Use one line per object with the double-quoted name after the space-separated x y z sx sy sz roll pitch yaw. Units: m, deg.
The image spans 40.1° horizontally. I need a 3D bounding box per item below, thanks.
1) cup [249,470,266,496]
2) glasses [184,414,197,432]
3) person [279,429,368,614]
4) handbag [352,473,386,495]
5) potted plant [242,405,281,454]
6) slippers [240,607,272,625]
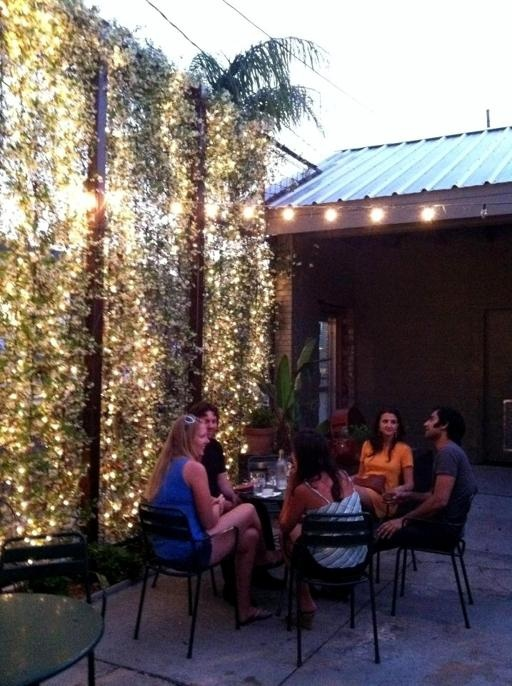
0.003 0.835 4.164 0.089 0.133 0.089 0 -2 0 "cup"
-0.328 0.396 3.487 0.071 0.068 0.021 -4 14 -41 "glasses"
0.292 0.916 3.372 0.340 0.972 0.552 0 -1 -35 "person"
0.684 0.854 4.214 0.223 0.081 0.228 1 3 14 "handbag"
0.054 0.833 6.595 0.382 0.457 0.371 0 -10 4 "potted plant"
-0.004 1.398 3.573 0.178 0.050 0.063 -3 1 -29 "slippers"
